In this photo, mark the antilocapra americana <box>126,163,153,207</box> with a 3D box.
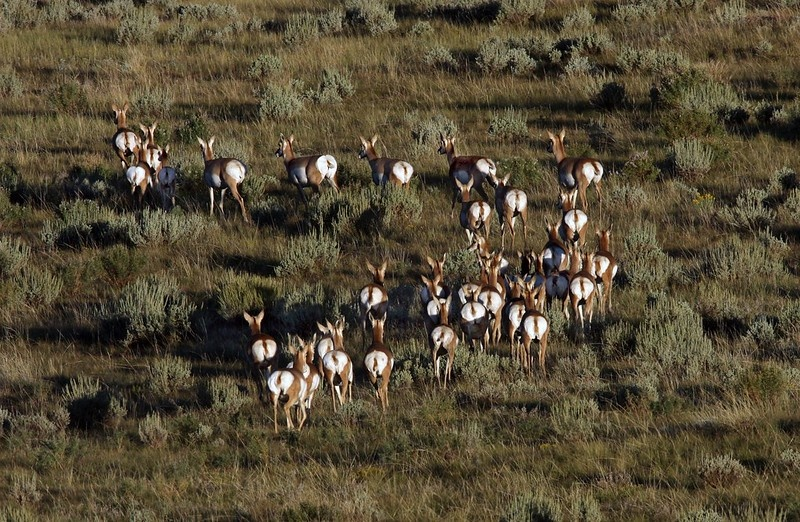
[{"bbox_3d":[-7.151,-2.136,33.830,0.669,1.180,1.122,-2,7,-12],"label":"antilocapra americana"}]
